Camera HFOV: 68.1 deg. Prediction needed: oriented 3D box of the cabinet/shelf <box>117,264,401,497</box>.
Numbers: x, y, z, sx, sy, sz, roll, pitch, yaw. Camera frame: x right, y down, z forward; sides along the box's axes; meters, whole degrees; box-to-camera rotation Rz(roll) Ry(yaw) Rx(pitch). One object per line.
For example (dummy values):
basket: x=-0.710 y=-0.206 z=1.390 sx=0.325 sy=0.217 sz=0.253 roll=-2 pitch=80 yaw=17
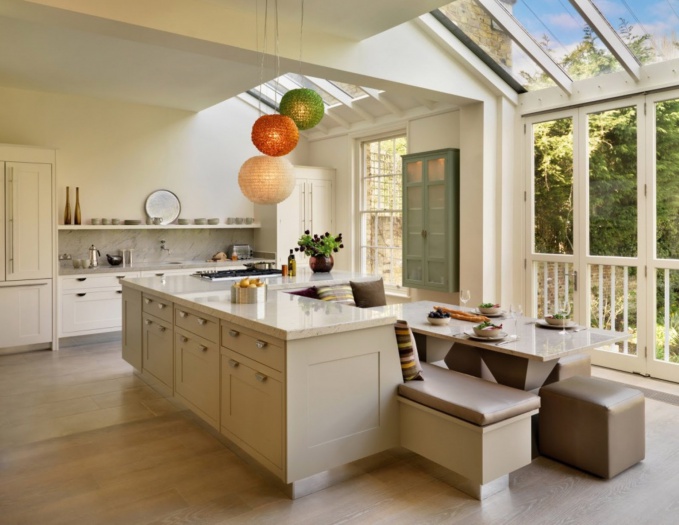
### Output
cabinet/shelf: x=-1.074 y=0.851 z=4.756 sx=1.182 sy=1.213 sz=3.371 roll=-3 pitch=7 yaw=-41

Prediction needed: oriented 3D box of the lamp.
lamp: x=-0.566 y=-1.475 z=4.608 sx=0.763 sy=1.838 sz=1.006 roll=0 pitch=9 yaw=3

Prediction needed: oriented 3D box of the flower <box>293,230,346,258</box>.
flower: x=-0.248 y=-0.237 z=6.072 sx=0.489 sy=0.318 sz=0.539 roll=0 pitch=9 yaw=4

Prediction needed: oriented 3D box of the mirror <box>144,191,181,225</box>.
mirror: x=-2.786 y=-0.866 z=7.825 sx=0.511 sy=0.507 sz=0.082 roll=2 pitch=6 yaw=-41

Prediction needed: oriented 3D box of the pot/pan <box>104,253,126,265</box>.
pot/pan: x=-3.319 y=-0.046 z=7.351 sx=0.177 sy=0.127 sz=0.223 roll=3 pitch=-3 yaw=-25

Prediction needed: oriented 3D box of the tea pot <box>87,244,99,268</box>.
tea pot: x=-3.566 y=-0.103 z=7.223 sx=0.158 sy=0.302 sz=0.396 roll=-4 pitch=10 yaw=-23

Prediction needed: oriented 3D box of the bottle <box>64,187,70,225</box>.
bottle: x=-3.864 y=-0.814 z=7.072 sx=0.072 sy=0.517 sz=0.203 roll=-3 pitch=10 yaw=-16

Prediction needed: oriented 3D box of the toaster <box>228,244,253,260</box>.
toaster: x=-1.696 y=-0.189 z=8.421 sx=0.407 sy=0.225 sz=0.388 roll=-3 pitch=9 yaw=-14

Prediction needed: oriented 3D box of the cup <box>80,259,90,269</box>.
cup: x=-3.590 y=0.014 z=7.013 sx=0.110 sy=0.131 sz=0.110 roll=1 pitch=-3 yaw=0

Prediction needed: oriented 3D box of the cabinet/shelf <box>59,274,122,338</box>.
cabinet/shelf: x=-3.472 y=0.469 z=7.037 sx=0.998 sy=0.899 sz=0.608 roll=-5 pitch=20 yaw=-41

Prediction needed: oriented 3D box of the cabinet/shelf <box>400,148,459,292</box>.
cabinet/shelf: x=1.237 y=-0.553 z=6.875 sx=0.283 sy=1.890 sz=0.919 roll=-6 pitch=7 yaw=-36

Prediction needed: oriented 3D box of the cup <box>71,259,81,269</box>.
cup: x=-3.693 y=0.011 z=7.003 sx=0.094 sy=0.112 sz=0.263 roll=-6 pitch=11 yaw=-34

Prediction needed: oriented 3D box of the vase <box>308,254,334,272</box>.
vase: x=-0.241 y=0.011 z=6.047 sx=0.216 sy=0.175 sz=0.215 roll=1 pitch=-4 yaw=-3

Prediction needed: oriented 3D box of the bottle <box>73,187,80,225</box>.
bottle: x=-3.760 y=-0.818 z=7.133 sx=0.108 sy=0.528 sz=0.239 roll=-5 pitch=10 yaw=-27

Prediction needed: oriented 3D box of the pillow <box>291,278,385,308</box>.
pillow: x=0.052 y=0.309 z=5.266 sx=0.522 sy=0.190 sz=0.444 roll=1 pitch=9 yaw=-22

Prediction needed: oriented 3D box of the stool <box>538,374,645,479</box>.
stool: x=1.877 y=1.196 z=3.763 sx=0.510 sy=0.542 sz=0.611 roll=-8 pitch=12 yaw=-42

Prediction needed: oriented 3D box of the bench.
bench: x=0.903 y=1.232 z=3.682 sx=0.567 sy=0.576 sz=0.938 roll=0 pitch=-1 yaw=-29
